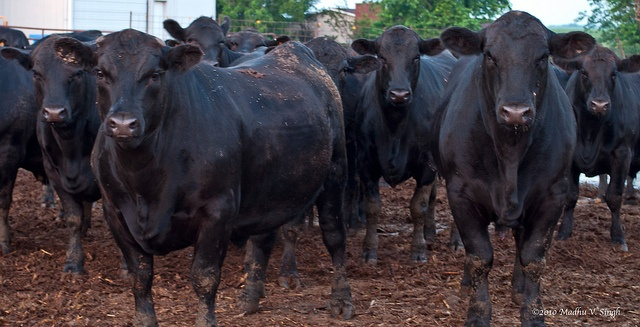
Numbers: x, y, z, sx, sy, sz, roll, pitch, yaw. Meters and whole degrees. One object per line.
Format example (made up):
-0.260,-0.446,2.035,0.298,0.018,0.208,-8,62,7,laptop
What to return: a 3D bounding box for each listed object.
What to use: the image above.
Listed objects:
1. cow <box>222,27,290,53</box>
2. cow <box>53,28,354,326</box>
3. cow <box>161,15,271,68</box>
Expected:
-1.854,-3.092,17.154,1.019,0.604,1.284,-5,3,0,cow
-1.638,0.173,11.334,4.973,4.358,1.652,2,0,-35,cow
-2.641,-2.878,16.737,1.403,1.418,2.771,-2,-5,7,cow
